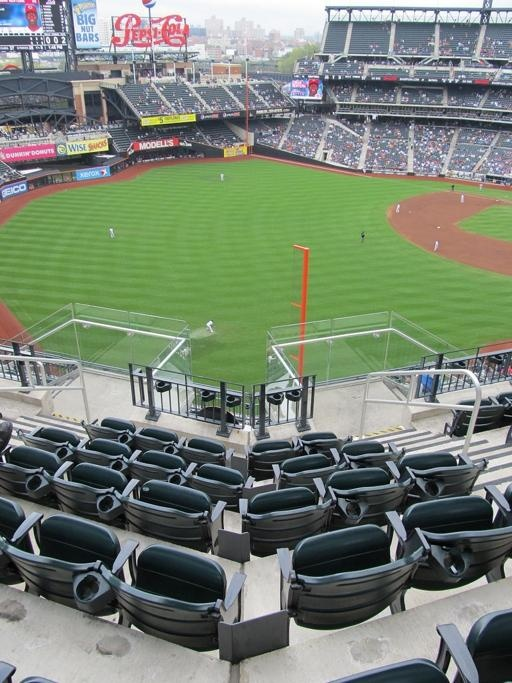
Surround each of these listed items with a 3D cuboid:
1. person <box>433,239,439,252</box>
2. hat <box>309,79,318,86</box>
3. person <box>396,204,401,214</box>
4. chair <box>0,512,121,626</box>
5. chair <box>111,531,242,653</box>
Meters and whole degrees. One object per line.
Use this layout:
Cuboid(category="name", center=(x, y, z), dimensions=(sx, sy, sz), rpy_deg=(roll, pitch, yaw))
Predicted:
Cuboid(category="person", center=(8.910, -4.659, 27.386), dimensions=(0.256, 0.151, 1.060), rpy_deg=(-9, 36, 32))
Cuboid(category="hat", center=(5.817, -25.717, 55.410), dimensions=(0.723, 0.442, 1.071), rpy_deg=(5, -13, 4))
Cuboid(category="person", center=(8.935, -8.230, 34.659), dimensions=(0.373, 0.171, 1.304), rpy_deg=(3, 25, 10))
Cuboid(category="chair", center=(-1.244, 1.446, 3.499), dimensions=(0.554, 0.485, 0.701), rpy_deg=(19, 15, 4))
Cuboid(category="chair", center=(-0.504, 1.529, 3.374), dimensions=(0.653, 0.408, 0.655), rpy_deg=(14, -17, 8))
